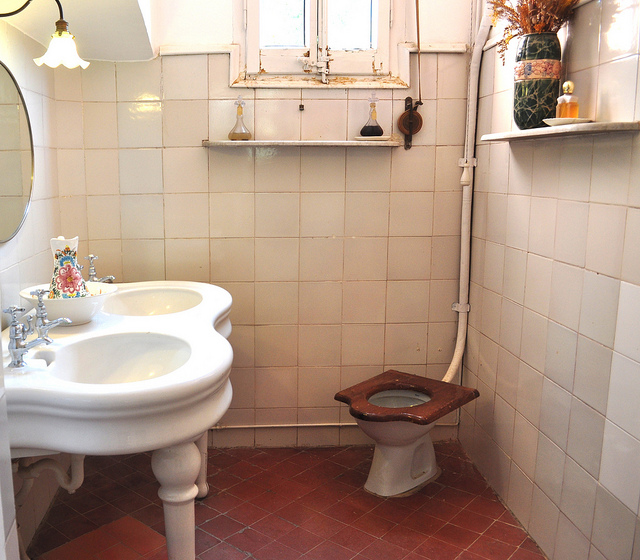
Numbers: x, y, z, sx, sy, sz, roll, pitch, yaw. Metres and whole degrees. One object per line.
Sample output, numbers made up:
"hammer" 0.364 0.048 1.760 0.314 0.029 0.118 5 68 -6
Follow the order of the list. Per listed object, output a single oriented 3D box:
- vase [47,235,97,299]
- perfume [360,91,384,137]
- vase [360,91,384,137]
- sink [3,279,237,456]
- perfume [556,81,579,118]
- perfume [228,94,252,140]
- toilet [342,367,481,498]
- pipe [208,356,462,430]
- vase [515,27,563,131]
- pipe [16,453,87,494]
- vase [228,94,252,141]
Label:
"vase" -0.802 -0.014 1.726 0.123 0.259 0.113 -2 -11 -34
"perfume" 0.234 -0.762 2.473 0.098 0.209 0.115 1 11 4
"vase" 0.237 -0.748 2.468 0.115 0.214 0.117 3 18 11
"sink" -0.585 0.183 1.649 0.627 0.335 0.950 -1 12 -9
"perfume" 0.752 -0.550 1.659 0.076 0.111 0.080 -2 16 1
"perfume" -0.361 -0.739 2.445 0.092 0.202 0.121 1 11 0
"toilet" 0.362 0.677 2.382 0.479 0.404 0.536 6 14 43
"pipe" 0.100 0.558 2.651 1.290 0.407 0.043 2 -3 -9
"vase" 0.716 -0.663 1.782 0.136 0.315 0.069 5 12 20
"pipe" -0.764 0.521 1.528 0.226 0.128 0.047 4 2 6
"vase" -0.362 -0.730 2.447 0.142 0.193 0.145 9 16 31
